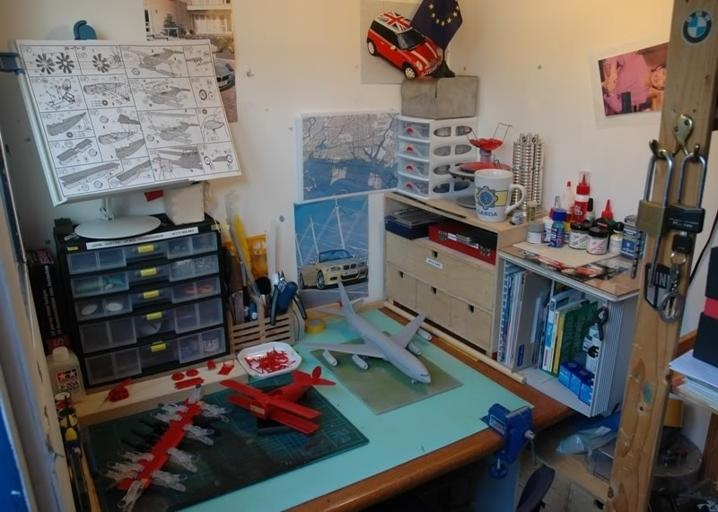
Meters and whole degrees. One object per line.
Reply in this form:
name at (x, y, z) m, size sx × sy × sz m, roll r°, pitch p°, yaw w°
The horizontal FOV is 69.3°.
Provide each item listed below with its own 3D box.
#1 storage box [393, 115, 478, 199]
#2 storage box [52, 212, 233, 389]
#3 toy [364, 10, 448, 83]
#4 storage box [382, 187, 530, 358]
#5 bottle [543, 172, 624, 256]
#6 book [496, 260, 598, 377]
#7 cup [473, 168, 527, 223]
storage box at (0.335, -0.435, 2.477) m, size 0.339 × 0.450 × 0.448 m, roll -11°, pitch 21°, yaw -30°
storage box at (-0.782, 0.155, 1.811) m, size 0.474 × 0.476 × 0.285 m, roll -15°, pitch 22°, yaw -24°
toy at (0.203, -0.879, 2.269) m, size 0.336 × 0.224 × 0.162 m, roll 40°, pitch -6°, yaw 15°
storage box at (0.407, 0.052, 2.240) m, size 0.252 × 0.559 × 0.654 m, roll -17°, pitch 27°, yaw -33°
bottle at (0.836, -0.147, 1.902) m, size 0.246 × 0.245 × 0.153 m, roll 15°, pitch 25°, yaw 36°
book at (0.682, 0.216, 1.867) m, size 0.326 × 0.424 × 0.296 m, roll -6°, pitch 20°, yaw -31°
cup at (0.527, -0.257, 2.042) m, size 0.149 × 0.173 × 0.226 m, roll -18°, pitch 31°, yaw -19°
